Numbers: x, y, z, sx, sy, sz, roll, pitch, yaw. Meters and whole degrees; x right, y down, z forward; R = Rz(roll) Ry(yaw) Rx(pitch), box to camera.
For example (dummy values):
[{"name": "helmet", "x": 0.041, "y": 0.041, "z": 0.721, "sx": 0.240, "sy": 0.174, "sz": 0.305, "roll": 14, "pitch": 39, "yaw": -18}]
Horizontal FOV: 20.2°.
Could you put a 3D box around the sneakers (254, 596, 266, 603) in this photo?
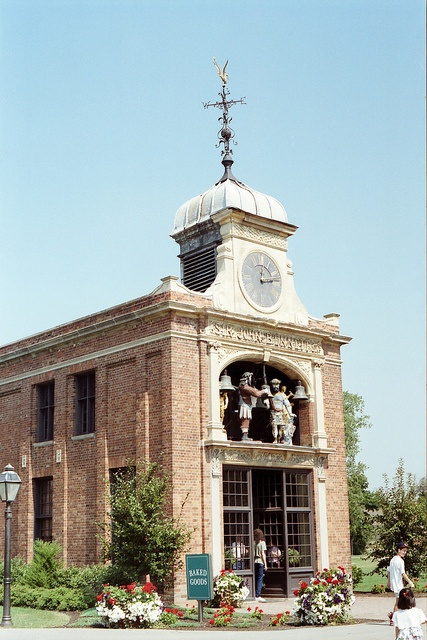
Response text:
[{"name": "sneakers", "x": 1.114, "y": 7.057, "z": 30.144, "sx": 0.121, "sy": 0.101, "sz": 0.228, "roll": 9, "pitch": -12, "yaw": -44}]

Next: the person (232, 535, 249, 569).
[{"name": "person", "x": 0.636, "y": 6.020, "z": 30.692, "sx": 0.306, "sy": 0.735, "sz": 0.591, "roll": 11, "pitch": 2, "yaw": 41}]

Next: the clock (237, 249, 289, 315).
[{"name": "clock", "x": 1.268, "y": -1.013, "z": 33.101, "sx": 0.171, "sy": 1.641, "sz": 1.656, "roll": -11, "pitch": -20, "yaw": 38}]

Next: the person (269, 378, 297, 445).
[{"name": "person", "x": 1.822, "y": 2.507, "z": 32.801, "sx": 0.855, "sy": 1.724, "sz": 1.310, "roll": 10, "pitch": 2, "yaw": 4}]
